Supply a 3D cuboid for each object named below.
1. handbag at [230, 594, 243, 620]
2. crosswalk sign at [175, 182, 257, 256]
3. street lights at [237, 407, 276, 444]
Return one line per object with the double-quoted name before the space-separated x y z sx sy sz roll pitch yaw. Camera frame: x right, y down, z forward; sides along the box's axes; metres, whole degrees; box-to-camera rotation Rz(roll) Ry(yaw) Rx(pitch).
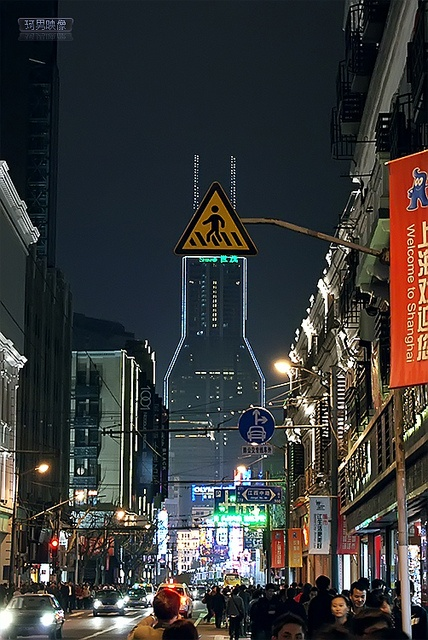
"handbag" 0.576 7.902 32.112 0.425 0.647 0.510 -1 -20 -2
"crosswalk sign" 0.016 -1.387 15.751 1.033 1.188 0.374 -3 -19 4
"street lights" 1.044 2.601 29.184 0.862 1.017 0.875 -1 -21 0
